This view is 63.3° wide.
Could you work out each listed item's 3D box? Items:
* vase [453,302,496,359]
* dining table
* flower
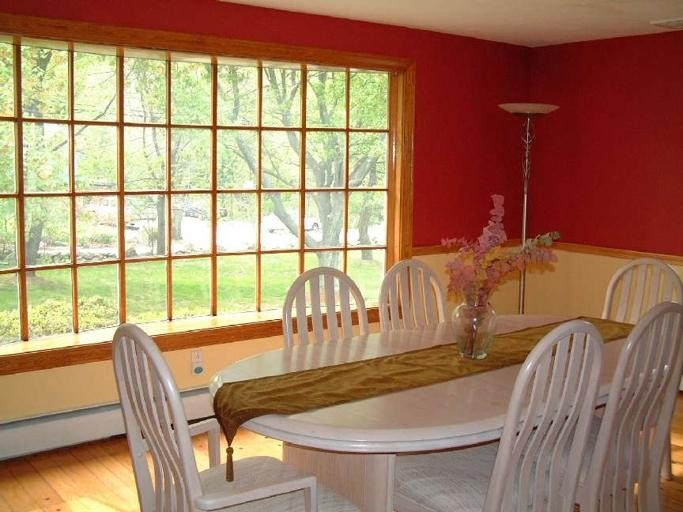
[{"bbox_3d":[0.608,0.336,2.573,0.202,0.255,0.209,3,9,25],"label":"vase"},{"bbox_3d":[0.363,0.617,2.144,0.961,0.236,0.626,-6,8,-37],"label":"dining table"},{"bbox_3d":[0.678,0.144,2.576,0.352,0.607,0.552,7,-4,-21],"label":"flower"}]
